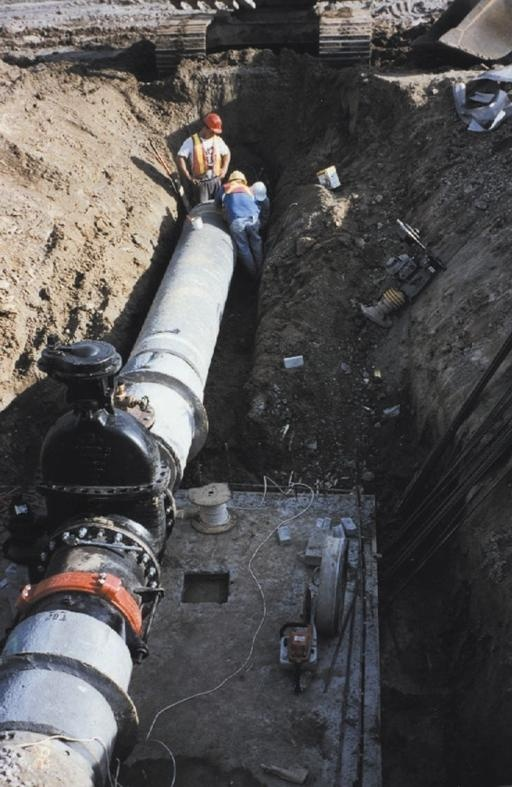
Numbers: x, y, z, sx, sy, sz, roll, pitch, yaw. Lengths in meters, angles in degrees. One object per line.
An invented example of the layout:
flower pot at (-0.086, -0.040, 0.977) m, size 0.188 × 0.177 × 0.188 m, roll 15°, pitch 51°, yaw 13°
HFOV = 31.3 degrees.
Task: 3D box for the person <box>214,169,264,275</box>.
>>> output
person at (-0.144, -2.521, 13.817) m, size 0.540 × 1.620 × 0.600 m, roll -10°, pitch 10°, yaw 0°

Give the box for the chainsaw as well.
chainsaw at (0.444, 2.510, 9.148) m, size 0.349 × 0.393 × 0.923 m, roll 1°, pitch 41°, yaw 6°

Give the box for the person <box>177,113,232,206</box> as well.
person at (-0.769, -3.397, 14.378) m, size 0.849 × 1.811 × 0.488 m, roll -10°, pitch 23°, yaw -17°
